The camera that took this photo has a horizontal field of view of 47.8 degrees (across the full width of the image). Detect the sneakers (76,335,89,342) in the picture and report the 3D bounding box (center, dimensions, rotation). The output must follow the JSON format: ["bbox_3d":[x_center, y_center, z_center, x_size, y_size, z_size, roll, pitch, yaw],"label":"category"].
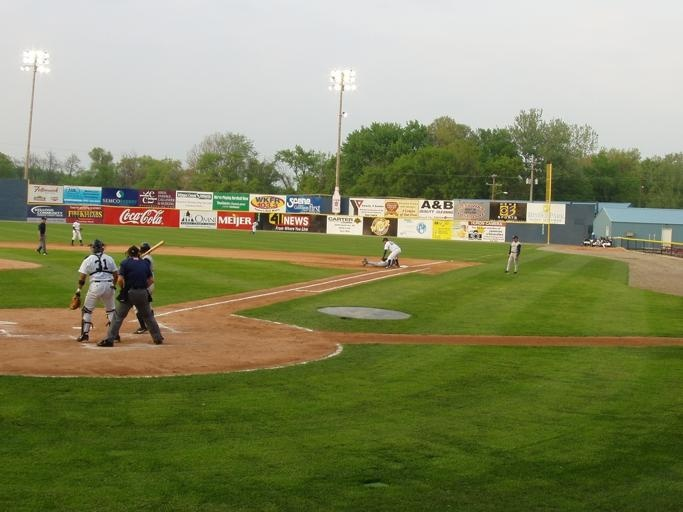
[{"bbox_3d":[-5.408,1.686,16.036,0.226,0.173,0.299,-1,10,-18],"label":"sneakers"}]

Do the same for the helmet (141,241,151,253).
[{"bbox_3d":[-4.614,-0.198,18.164,0.269,0.258,0.287,-2,12,-30],"label":"helmet"}]

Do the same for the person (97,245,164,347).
[{"bbox_3d":[-4.300,0.864,15.946,1.188,2.002,1.251,4,11,4],"label":"person"}]

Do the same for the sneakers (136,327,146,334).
[{"bbox_3d":[-4.556,1.676,17.209,0.296,0.100,0.102,0,10,31],"label":"sneakers"}]

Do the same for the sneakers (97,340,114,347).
[{"bbox_3d":[-4.805,1.768,15.581,0.301,0.101,0.140,3,2,9],"label":"sneakers"}]

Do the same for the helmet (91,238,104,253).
[{"bbox_3d":[-5.080,-0.211,15.962,0.279,0.283,0.309,1,16,-17],"label":"helmet"}]

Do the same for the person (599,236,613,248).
[{"bbox_3d":[23.271,-1.165,67.811,1.182,0.575,0.737,3,4,23],"label":"person"}]

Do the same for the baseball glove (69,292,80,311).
[{"bbox_3d":[-5.554,0.937,16.016,0.150,0.407,0.406,-1,11,-20],"label":"baseball glove"}]
